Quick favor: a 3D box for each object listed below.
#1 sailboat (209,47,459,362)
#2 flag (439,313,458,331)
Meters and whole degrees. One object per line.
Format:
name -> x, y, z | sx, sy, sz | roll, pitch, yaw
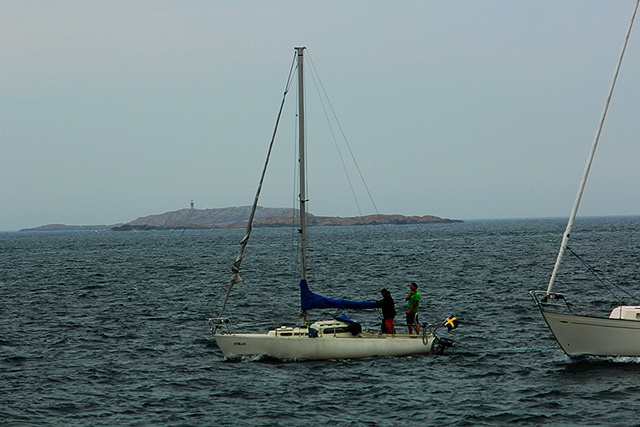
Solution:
sailboat -> 0.516, -0.380, 53.056 | 13.093, 18.672, 3.639 | -2, 15, -2
flag -> 8.533, 7.191, 58.000 | 1.126, 1.079, 1.105 | 11, 14, -24
